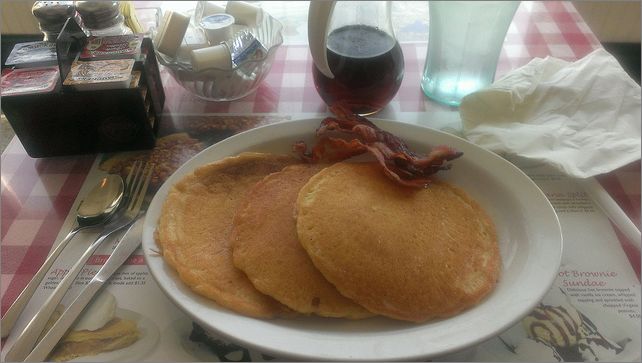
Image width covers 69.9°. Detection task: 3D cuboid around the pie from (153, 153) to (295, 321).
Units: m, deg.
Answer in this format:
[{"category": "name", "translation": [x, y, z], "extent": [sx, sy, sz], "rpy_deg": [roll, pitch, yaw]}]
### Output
[{"category": "pie", "translation": [-0.347, 0.147, 1.490], "extent": [0.446, 0.079, 0.473], "rpy_deg": [11, 51, 4]}]
